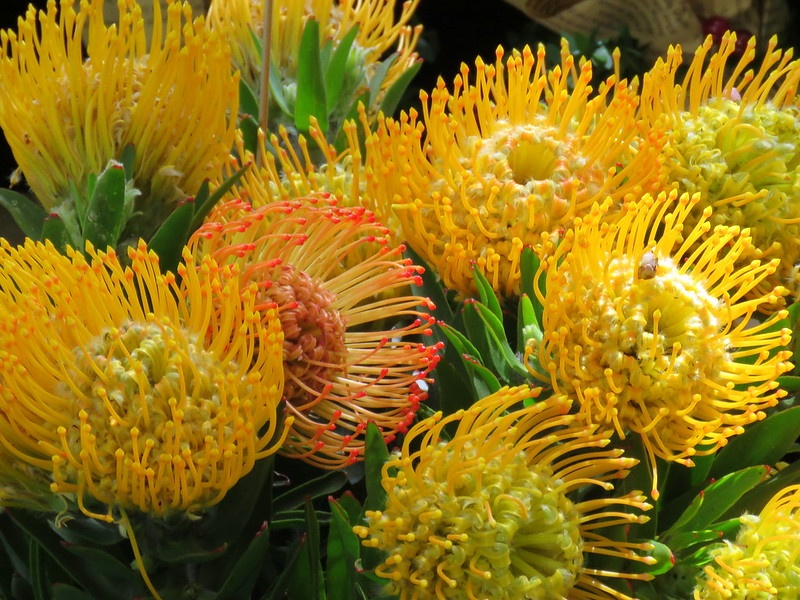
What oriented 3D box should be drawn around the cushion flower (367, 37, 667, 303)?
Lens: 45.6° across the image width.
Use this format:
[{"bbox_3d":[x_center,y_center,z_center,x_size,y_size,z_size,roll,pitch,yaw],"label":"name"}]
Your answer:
[{"bbox_3d":[0.117,-0.086,0.943,0.239,0.139,0.246,-26,55,-12],"label":"cushion flower"}]
